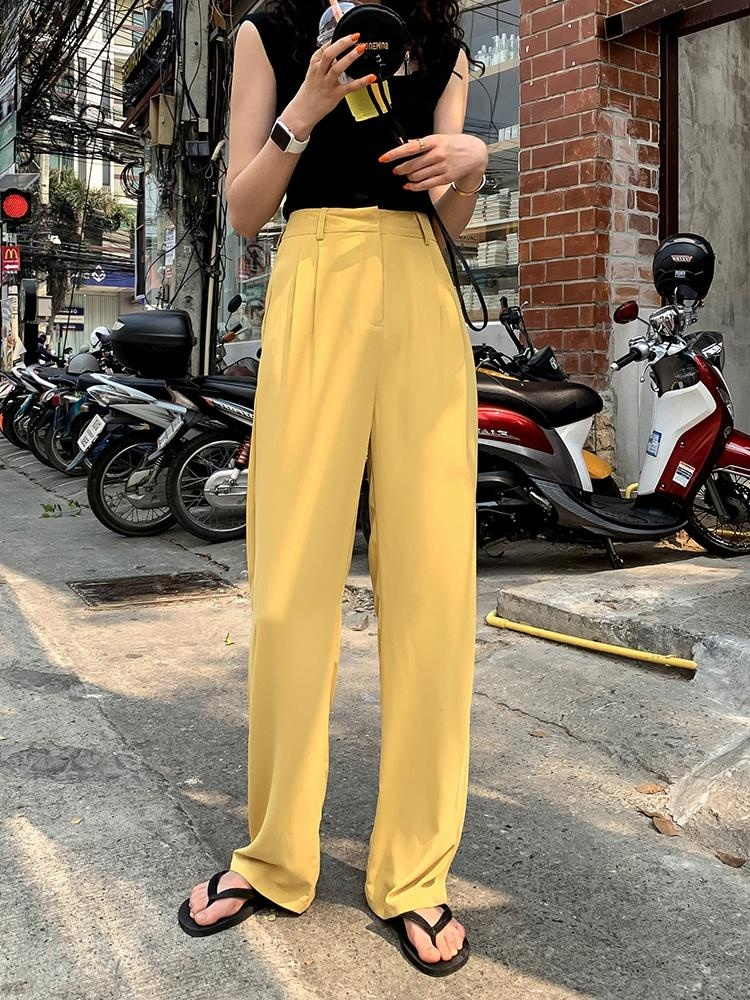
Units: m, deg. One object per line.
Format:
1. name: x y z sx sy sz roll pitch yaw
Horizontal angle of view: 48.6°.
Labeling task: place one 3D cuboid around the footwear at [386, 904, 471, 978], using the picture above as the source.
1. footwear: 0.073 0.649 1.242 0.139 0.058 0.121 2 5 11

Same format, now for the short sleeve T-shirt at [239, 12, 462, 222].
1. short sleeve T-shirt: -0.049 -0.541 1.171 0.344 0.306 0.183 -2 8 -18

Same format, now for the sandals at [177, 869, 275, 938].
1. sandals: -0.233 0.638 1.327 0.152 0.042 0.059 -5 14 -24

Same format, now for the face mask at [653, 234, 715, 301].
1. face mask: 1.426 -1.072 3.834 0.278 0.313 0.330 2 13 19

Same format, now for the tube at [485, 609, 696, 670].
1. tube: 0.661 0.395 2.609 0.144 0.036 0.681 18 -8 -31

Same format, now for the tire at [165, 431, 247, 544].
1. tire: -0.974 -0.099 4.809 0.712 0.660 0.122 0 9 -5

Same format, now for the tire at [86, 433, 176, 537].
1. tire: -1.468 -0.105 5.029 0.646 0.640 0.168 -2 17 -8

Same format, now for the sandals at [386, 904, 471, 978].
1. sandals: 0.073 0.649 1.242 0.139 0.058 0.121 2 5 11
